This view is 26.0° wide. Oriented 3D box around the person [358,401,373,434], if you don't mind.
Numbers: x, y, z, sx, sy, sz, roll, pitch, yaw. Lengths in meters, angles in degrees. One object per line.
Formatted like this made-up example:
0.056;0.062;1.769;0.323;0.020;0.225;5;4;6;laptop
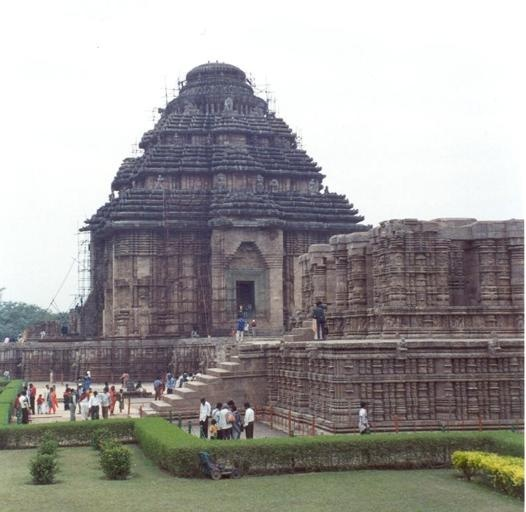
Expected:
2.404;3.830;27.005;0.307;0.763;0.873;-2;-11;4;person
